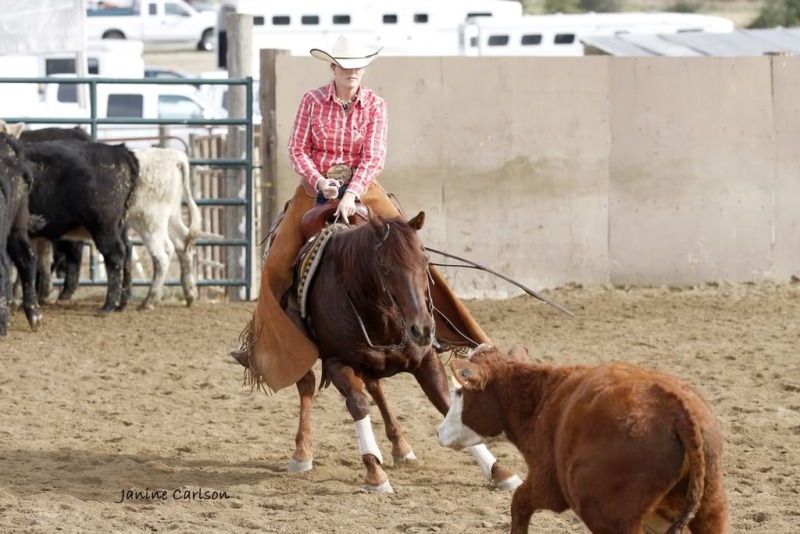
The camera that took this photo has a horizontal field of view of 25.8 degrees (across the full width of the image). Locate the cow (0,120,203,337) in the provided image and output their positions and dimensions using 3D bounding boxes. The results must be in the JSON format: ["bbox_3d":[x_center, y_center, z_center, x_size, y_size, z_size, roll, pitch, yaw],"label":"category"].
[{"bbox_3d":[-4.504,-0.606,26.001,2.486,2.517,0.805,1,3,-15],"label":"cow"}]
